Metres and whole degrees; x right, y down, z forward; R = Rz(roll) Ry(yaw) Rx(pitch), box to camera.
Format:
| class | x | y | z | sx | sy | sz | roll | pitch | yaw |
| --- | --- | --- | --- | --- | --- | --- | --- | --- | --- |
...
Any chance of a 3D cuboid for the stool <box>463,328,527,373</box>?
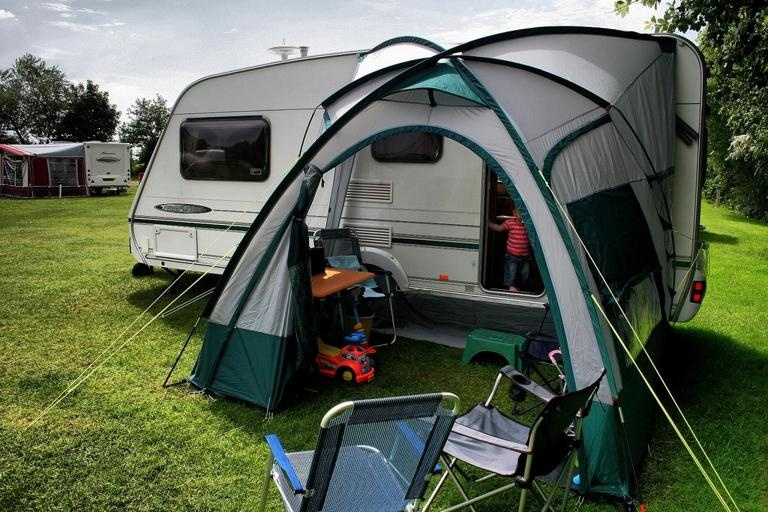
| class | x | y | z | sx | sy | sz | roll | pitch | yaw |
| --- | --- | --- | --- | --- | --- | --- | --- | --- | --- |
| stool | 1.348 | 1.061 | 6.624 | 0.735 | 0.337 | 0.557 | 7 | 15 | 28 |

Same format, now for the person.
| class | x | y | z | sx | sy | sz | roll | pitch | yaw |
| --- | --- | --- | --- | --- | --- | --- | --- | --- | --- |
| person | 1.678 | -0.111 | 7.366 | 0.575 | 0.534 | 1.263 | 11 | 49 | -12 |

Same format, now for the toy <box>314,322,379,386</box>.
| class | x | y | z | sx | sy | sz | roll | pitch | yaw |
| --- | --- | --- | --- | --- | --- | --- | --- | --- | --- |
| toy | -0.520 | 1.078 | 6.261 | 0.856 | 0.524 | 0.490 | 5 | 6 | 23 |
